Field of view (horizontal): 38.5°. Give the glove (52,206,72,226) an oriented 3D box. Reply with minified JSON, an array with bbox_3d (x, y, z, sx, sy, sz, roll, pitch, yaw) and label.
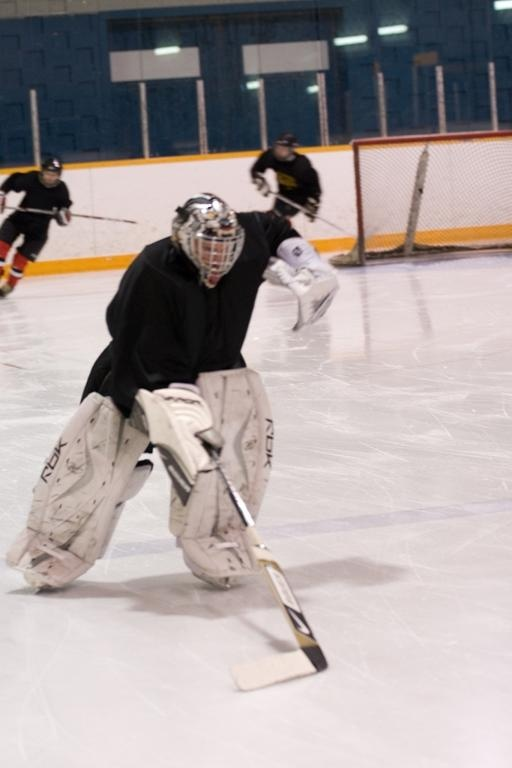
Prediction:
[{"bbox_3d":[-2.051,-1.740,7.730,0.193,0.226,0.235,-1,31,-6],"label":"glove"}]

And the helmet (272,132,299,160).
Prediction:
[{"bbox_3d":[0.267,-2.264,7.039,0.243,0.219,0.274,5,-1,1],"label":"helmet"}]

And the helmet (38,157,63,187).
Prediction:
[{"bbox_3d":[-2.153,-2.215,7.659,0.214,0.289,0.227,-8,6,-19],"label":"helmet"}]

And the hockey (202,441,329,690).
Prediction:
[{"bbox_3d":[0.022,0.333,1.253,0.104,0.013,0.356,-4,30,-17],"label":"hockey"}]
